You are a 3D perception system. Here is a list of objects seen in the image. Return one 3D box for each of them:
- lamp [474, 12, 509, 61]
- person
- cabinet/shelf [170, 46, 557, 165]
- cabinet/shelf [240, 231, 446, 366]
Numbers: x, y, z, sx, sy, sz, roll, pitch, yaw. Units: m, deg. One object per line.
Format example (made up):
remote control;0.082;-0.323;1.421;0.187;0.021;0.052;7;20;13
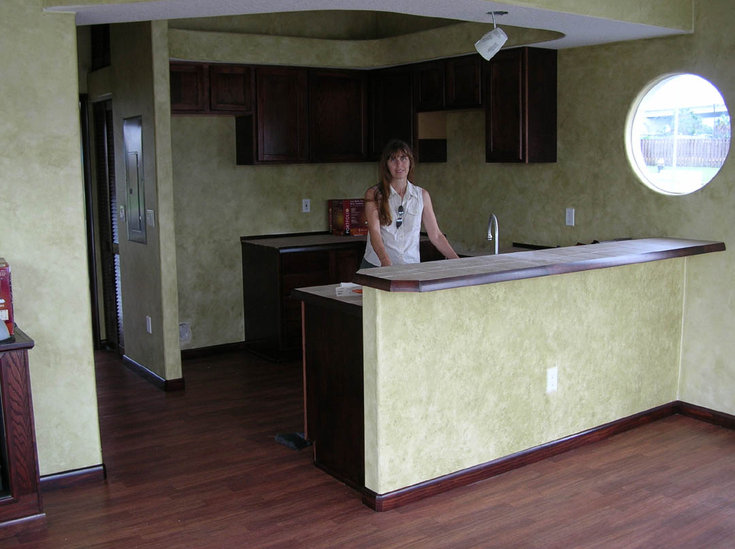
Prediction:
lamp;0.812;-1.533;3.925;0.129;0.297;0.180;-4;19;6
person;0.307;-0.154;4.569;0.645;1.587;0.582;-5;36;-6
cabinet/shelf;0.025;-1.471;5.617;3.222;0.905;1.163;2;13;11
cabinet/shelf;-0.376;0.055;6.120;2.085;1.486;1.072;-3;3;-34
